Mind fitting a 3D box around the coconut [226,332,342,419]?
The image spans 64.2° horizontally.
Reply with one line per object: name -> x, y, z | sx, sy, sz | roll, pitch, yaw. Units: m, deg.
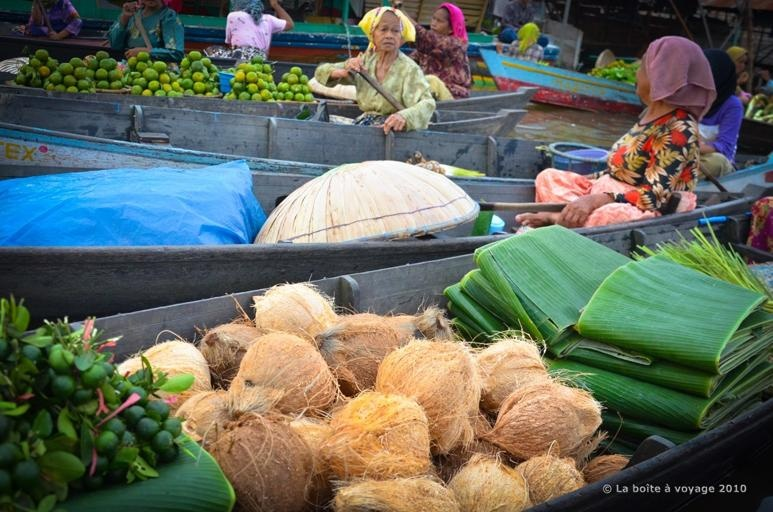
coconut -> -0.311, 0.397, 2.025 | 0.295, 0.262, 0.321 | 0, -12, 1

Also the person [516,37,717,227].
person -> 1.445, -0.742, 4.044 | 1.289, 1.370, 1.007 | 4, 22, 24

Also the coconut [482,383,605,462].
coconut -> 0.485, 0.516, 2.155 | 0.384, 0.241, 0.557 | 1, 13, -1

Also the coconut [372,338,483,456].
coconut -> 0.162, 0.437, 1.972 | 0.383, 0.306, 0.284 | -7, -14, -43

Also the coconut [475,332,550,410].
coconut -> 0.399, 0.450, 2.203 | 0.164, 0.285, 0.220 | 48, -12, 2

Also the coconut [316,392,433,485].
coconut -> -0.025, 0.555, 1.873 | 0.328, 0.220, 0.197 | 7, 19, -1

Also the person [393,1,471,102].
person -> 0.562, -2.351, 7.370 | 0.980, 1.366, 0.701 | 6, -5, 24

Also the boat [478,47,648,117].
boat -> 3.942, -3.571, 13.445 | 4.416, 0.967, 0.974 | 5, -16, -20

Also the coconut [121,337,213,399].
coconut -> -0.703, 0.378, 2.083 | 0.269, 0.113, 0.157 | 18, 21, 27

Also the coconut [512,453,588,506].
coconut -> 0.512, 0.693, 1.914 | 0.177, 0.098, 0.142 | -5, 23, -4

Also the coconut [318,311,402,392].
coconut -> -0.121, 0.350, 2.240 | 0.288, 0.237, 0.216 | -17, -8, -15

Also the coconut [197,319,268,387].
coconut -> -0.541, 0.328, 2.204 | 0.234, 0.180, 0.169 | -23, -12, -41
